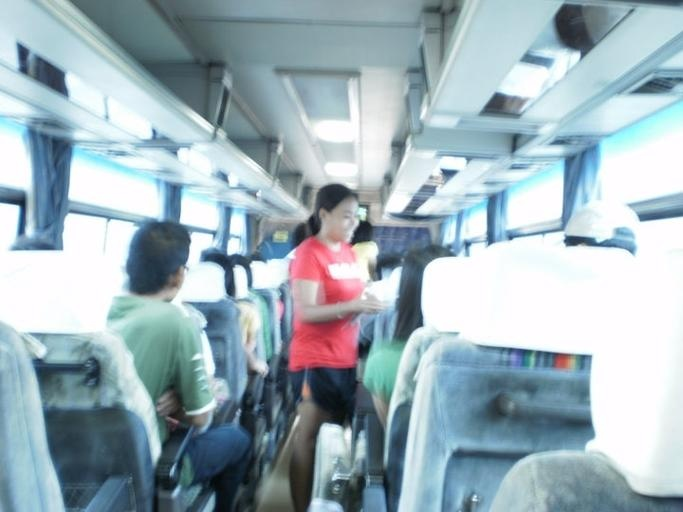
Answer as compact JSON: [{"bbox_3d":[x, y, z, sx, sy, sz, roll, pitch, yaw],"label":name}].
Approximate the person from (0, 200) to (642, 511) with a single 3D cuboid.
[{"bbox_3d":[-0.177,0.421,2.215,1.577,0.693,0.517,3,-15,12],"label":"person"}]
